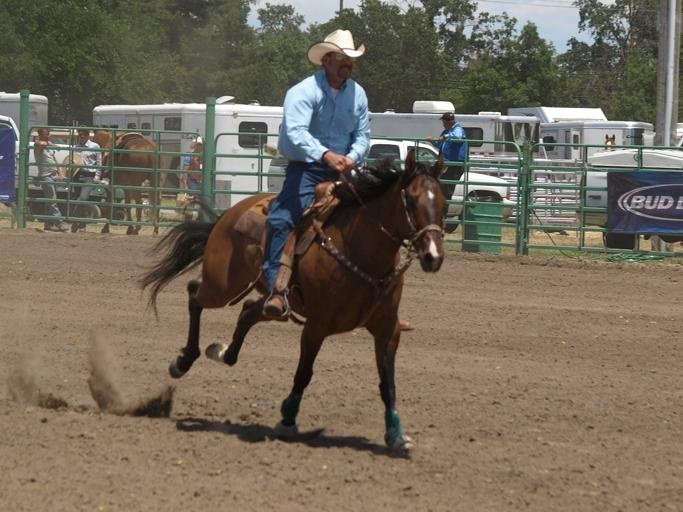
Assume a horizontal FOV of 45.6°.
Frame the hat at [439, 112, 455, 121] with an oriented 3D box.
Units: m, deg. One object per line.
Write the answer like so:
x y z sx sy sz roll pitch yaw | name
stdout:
2.073 -2.751 16.172 0.231 0.174 0.316 -10 19 -26 | hat

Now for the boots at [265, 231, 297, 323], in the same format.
-0.521 0.181 7.070 0.175 0.770 0.421 9 15 25 | boots

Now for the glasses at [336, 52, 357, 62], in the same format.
0.034 -1.734 7.134 0.161 0.072 0.075 -5 15 -30 | glasses

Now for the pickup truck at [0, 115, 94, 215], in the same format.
-6.858 -2.071 18.980 2.182 2.347 3.942 1 7 -1 | pickup truck

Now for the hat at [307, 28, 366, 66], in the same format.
-0.046 -1.871 7.279 0.504 0.321 0.450 2 13 -4 | hat

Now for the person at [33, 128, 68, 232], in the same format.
-6.250 -1.605 17.366 0.559 2.248 1.164 -3 15 -22 | person
